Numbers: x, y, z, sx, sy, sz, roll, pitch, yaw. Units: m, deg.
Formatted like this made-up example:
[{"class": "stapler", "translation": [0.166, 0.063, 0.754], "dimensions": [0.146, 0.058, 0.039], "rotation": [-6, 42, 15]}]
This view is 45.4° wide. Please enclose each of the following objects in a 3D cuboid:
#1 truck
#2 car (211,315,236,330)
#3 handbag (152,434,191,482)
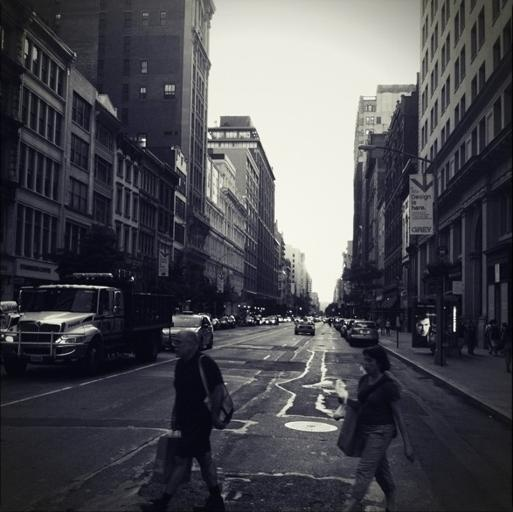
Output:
[{"class": "truck", "translation": [-5.128, 2.007, 19.135], "dimensions": [1.891, 2.551, 5.867], "rotation": [-1, -9, 9]}, {"class": "car", "translation": [-3.868, 7.597, 70.174], "dimensions": [1.165, 1.277, 3.161], "rotation": [-2, -13, 3]}, {"class": "handbag", "translation": [-0.857, 1.932, 5.852], "dimensions": [0.237, 0.442, 0.171], "rotation": [2, -7, -12]}]
